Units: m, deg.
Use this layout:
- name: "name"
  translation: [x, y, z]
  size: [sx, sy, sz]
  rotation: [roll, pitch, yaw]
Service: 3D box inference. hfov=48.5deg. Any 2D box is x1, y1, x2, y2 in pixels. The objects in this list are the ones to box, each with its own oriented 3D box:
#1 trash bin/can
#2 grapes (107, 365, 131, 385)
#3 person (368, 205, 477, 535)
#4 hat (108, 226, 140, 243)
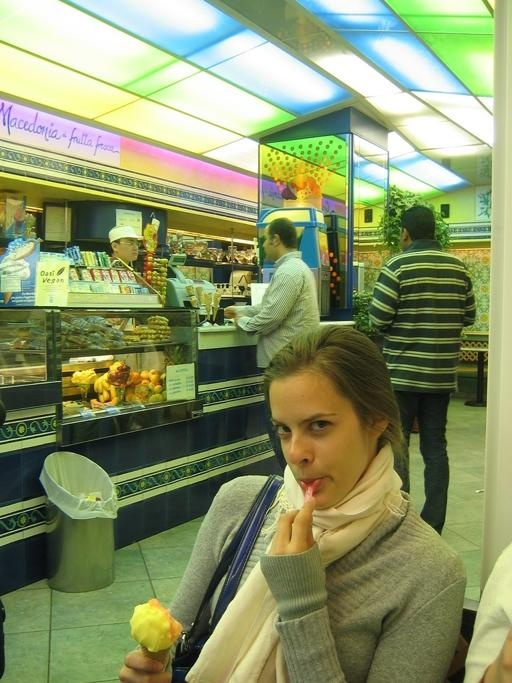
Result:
- name: "trash bin/can"
  translation: [-0.893, 0.899, 2.868]
  size: [0.358, 0.644, 0.312]
  rotation: [-1, 3, -18]
- name: "grapes"
  translation: [-0.814, 0.203, 3.393]
  size: [0.116, 0.081, 0.121]
  rotation: [4, -11, -18]
- name: "person"
  translation: [0.952, 0.027, 3.483]
  size: [0.784, 2.111, 0.750]
  rotation: [5, 9, 10]
- name: "hat"
  translation: [-1.153, -0.948, 4.991]
  size: [0.245, 0.100, 0.178]
  rotation: [-7, 7, -13]
